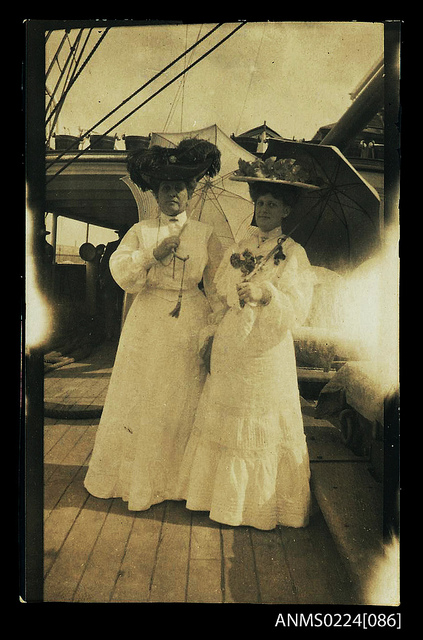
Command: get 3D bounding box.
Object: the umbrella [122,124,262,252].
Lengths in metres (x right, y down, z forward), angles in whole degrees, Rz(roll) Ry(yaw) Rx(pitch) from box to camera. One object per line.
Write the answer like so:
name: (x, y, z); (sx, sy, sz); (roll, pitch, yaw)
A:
umbrella: (-0.075, -0.694, 3.378); (0.554, 0.690, 0.220); (12, 5, 2)
